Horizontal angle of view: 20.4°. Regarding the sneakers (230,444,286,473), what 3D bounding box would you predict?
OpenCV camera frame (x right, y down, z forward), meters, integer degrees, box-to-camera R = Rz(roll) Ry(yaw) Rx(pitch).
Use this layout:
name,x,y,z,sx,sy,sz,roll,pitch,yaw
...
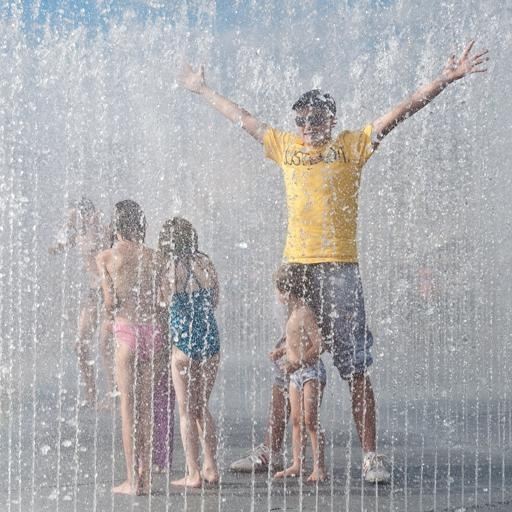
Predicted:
name,x,y,z,sx,sy,sz,roll,pitch,yaw
sneakers,0.009,1.332,9.216,0.344,0.248,0.163,4,-12,-9

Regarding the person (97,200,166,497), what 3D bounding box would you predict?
name,x,y,z,sx,sy,sz,roll,pitch,yaw
person,-0.778,0.563,8.946,0.401,1.689,0.601,-2,10,-16

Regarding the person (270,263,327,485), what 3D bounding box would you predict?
name,x,y,z,sx,sy,sz,roll,pitch,yaw
person,0.272,0.726,9.063,0.353,1.273,0.491,1,9,1

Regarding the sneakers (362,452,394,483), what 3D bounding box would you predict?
name,x,y,z,sx,sy,sz,roll,pitch,yaw
sneakers,0.763,1.313,8.989,0.179,0.176,0.211,0,11,-4

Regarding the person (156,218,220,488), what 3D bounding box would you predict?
name,x,y,z,sx,sy,sz,roll,pitch,yaw
person,-0.426,0.599,9.030,0.391,1.557,0.613,0,9,-4
